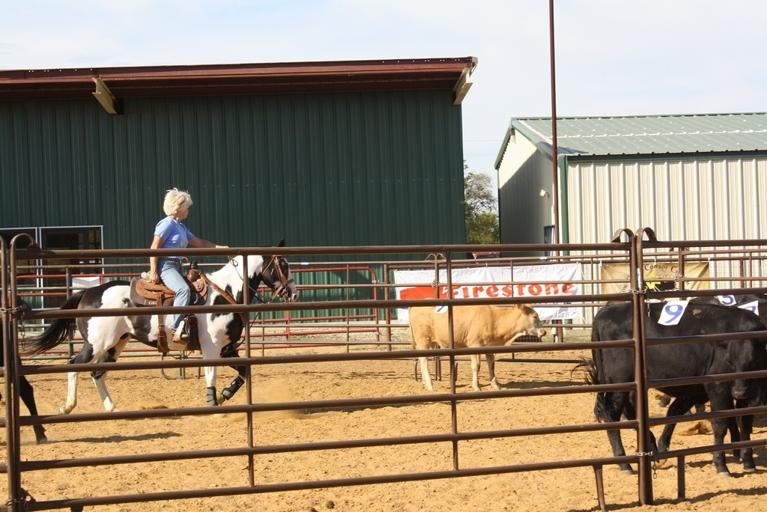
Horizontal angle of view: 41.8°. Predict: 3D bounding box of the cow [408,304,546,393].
[{"bbox_3d":[1.555,1.560,17.269,2.191,1.439,0.832,-1,3,0],"label":"cow"}]
